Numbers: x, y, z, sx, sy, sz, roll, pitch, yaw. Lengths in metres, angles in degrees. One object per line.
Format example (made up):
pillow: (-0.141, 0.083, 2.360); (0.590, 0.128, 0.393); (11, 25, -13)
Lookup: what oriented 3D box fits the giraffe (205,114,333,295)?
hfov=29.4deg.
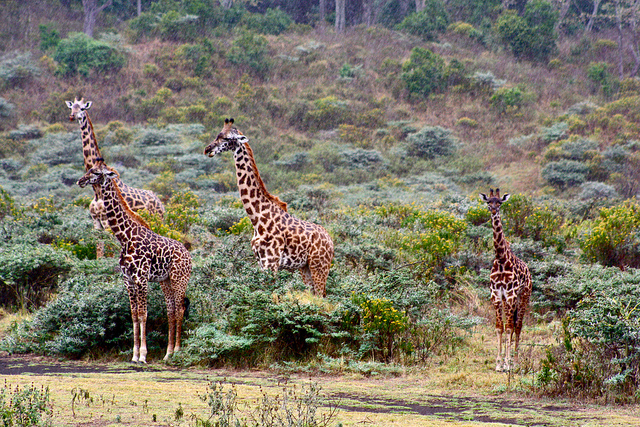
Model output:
giraffe: (-2.568, 0.797, 66.166); (7.018, 12.005, 2.511); (1, -3, -15)
